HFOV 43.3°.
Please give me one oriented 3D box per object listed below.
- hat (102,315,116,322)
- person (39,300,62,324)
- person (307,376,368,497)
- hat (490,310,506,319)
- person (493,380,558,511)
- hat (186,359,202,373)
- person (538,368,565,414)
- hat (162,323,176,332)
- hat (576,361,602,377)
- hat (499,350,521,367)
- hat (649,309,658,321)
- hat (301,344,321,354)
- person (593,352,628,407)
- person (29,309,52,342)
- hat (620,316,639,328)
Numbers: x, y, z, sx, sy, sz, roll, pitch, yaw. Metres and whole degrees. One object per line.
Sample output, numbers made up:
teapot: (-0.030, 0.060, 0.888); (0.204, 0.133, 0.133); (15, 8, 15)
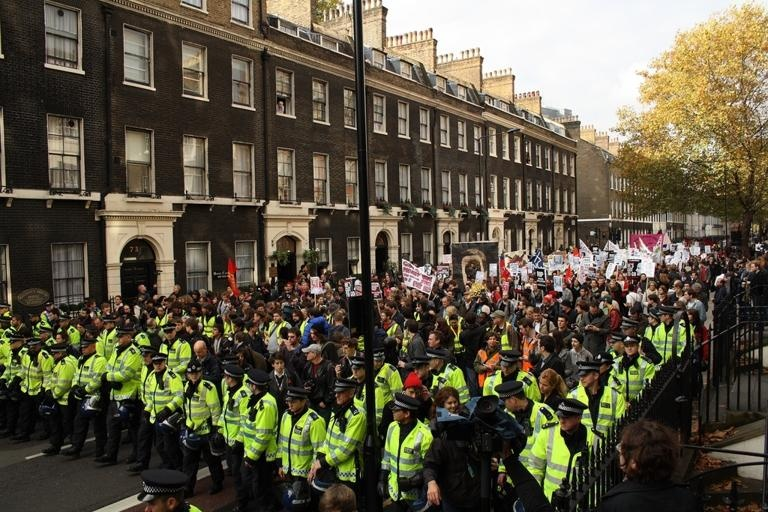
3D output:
hat: (-9.244, 2.073, 32.462); (0.380, 0.219, 0.678); (-2, -3, -18)
person: (-12.510, 2.089, 36.103); (0.542, 1.256, 0.445); (-3, -9, 21)
person: (-1.186, 4.981, 26.768); (1.501, 3.186, 0.442); (-3, -4, -2)
hat: (3.693, 1.847, 30.950); (0.336, 0.168, 0.252); (7, -1, 11)
person: (3.680, 5.068, 25.172); (1.131, 3.475, 1.561); (13, -35, -14)
hat: (-5.632, 3.231, 28.596); (0.429, 0.373, 0.206); (-4, -4, 14)
person: (4.608, 3.728, 26.483); (0.674, 1.252, 0.987); (-7, 0, -10)
hat: (-6.777, 2.248, 30.472); (0.401, 0.270, 0.649); (-3, -3, -14)
hat: (5.602, 3.026, 26.368); (0.493, 0.197, 0.438); (-10, -3, -25)
hat: (3.625, 2.880, 27.533); (0.609, 0.446, 0.439); (-3, -3, -13)
hat: (8.609, 1.839, 30.647); (0.286, 0.376, 0.854); (-4, -3, 16)
hat: (-2.164, 2.774, 29.001); (0.448, 0.165, 0.289); (1, -3, 0)
person: (6.327, 3.481, 26.902); (0.708, 1.978, 1.189); (-8, -4, -3)
person: (-12.140, 2.474, 34.119); (0.490, 1.375, 0.574); (4, -17, -40)
hat: (7.467, 1.985, 29.187); (0.477, 0.307, 0.606); (-5, -3, 19)
